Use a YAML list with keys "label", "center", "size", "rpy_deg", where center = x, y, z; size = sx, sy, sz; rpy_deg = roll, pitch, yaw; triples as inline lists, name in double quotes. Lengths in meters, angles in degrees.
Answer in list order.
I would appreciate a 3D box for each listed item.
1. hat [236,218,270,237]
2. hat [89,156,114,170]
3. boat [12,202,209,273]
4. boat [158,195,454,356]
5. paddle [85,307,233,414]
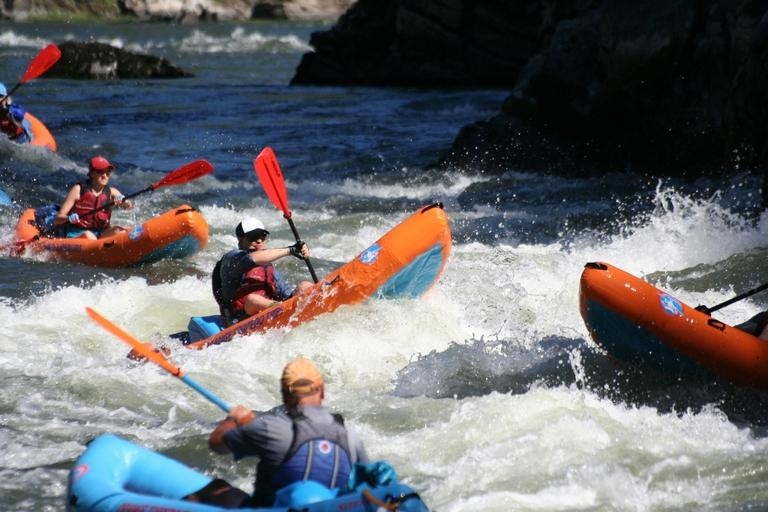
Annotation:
- label: "hat"
  center: [-1.866, -0.369, 15.287]
  size: [0.370, 0.199, 0.277]
  rpy_deg: [-5, 4, 45]
- label: "hat"
  center: [-4.650, -1.481, 17.729]
  size: [0.306, 0.231, 0.425]
  rpy_deg: [-5, 8, -36]
- label: "boat"
  center: [-4.381, -0.210, 17.627]
  size: [2.631, 0.762, 1.182]
  rpy_deg: [-1, 11, 26]
- label: "boat"
  center: [-1.259, 0.370, 15.783]
  size: [4.803, 1.043, 1.694]
  rpy_deg: [-24, -14, 3]
- label: "paddle"
  center: [-3.040, 1.477, 14.725]
  size: [2.286, 0.234, 0.107]
  rpy_deg: [32, 39, 7]
